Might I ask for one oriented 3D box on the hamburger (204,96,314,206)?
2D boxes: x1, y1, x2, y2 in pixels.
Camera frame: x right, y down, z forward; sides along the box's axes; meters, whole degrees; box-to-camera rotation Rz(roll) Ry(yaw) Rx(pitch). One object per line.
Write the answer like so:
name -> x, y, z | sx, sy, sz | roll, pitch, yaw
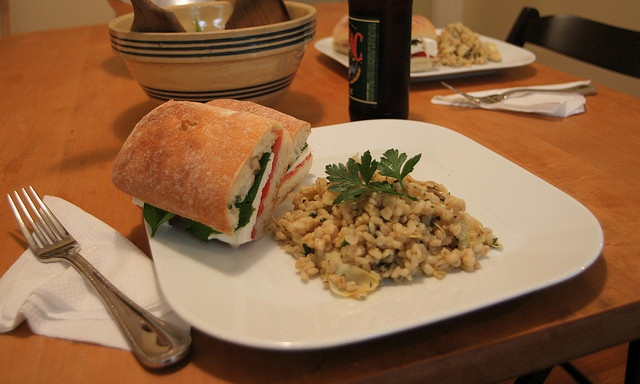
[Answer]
hamburger -> -0.218, -0.145, 1.790 | 0.367, 0.274, 0.372 | 24, 42, 28
